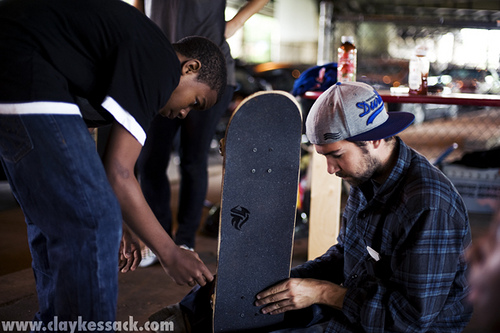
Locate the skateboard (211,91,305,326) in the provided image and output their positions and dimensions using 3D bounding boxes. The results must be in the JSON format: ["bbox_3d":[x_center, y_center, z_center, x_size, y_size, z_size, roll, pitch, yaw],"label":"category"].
[{"bbox_3d":[0.036,0.166,2.040,0.302,1.151,0.160,3,6,-15],"label":"skateboard"}]

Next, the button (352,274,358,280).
[{"bbox_3d":[0.461,0.480,2.094,0.026,0.024,0.009,6,13,32],"label":"button"}]

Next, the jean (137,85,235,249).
[{"bbox_3d":[-0.476,0.020,3.058,0.378,0.345,1.303,-7,42,6],"label":"jean"}]

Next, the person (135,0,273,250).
[{"bbox_3d":[-0.398,-0.191,3.174,0.608,2.304,0.314,3,1,-5],"label":"person"}]
